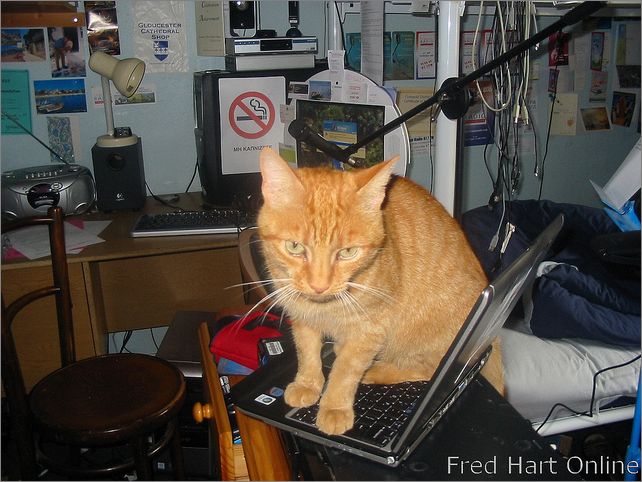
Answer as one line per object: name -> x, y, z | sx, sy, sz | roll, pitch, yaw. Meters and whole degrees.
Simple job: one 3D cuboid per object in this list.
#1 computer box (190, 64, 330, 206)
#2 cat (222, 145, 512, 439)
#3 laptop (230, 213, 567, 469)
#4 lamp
computer box -> -0.191, -0.450, 2.357 | 0.571, 0.606, 0.344 | 0, 7, 15
cat -> 0.109, 0.082, 1.412 | 0.775, 0.754, 0.456 | -1, 1, -35
laptop -> 0.154, 0.118, 1.179 | 0.574, 0.384, 0.613 | 14, 26, 25
lamp -> -0.845, -0.603, 2.270 | 0.226, 0.377, 0.268 | -3, 16, -6
